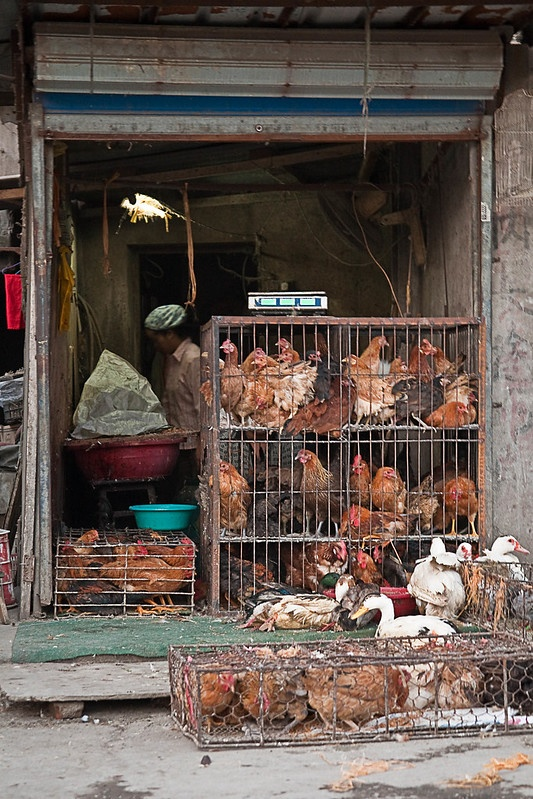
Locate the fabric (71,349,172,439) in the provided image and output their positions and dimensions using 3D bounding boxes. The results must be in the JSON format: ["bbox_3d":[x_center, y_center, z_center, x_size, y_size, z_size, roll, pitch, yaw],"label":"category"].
[{"bbox_3d":[-1.062,0.037,8.794,0.708,0.342,0.859,21,-24,-13],"label":"fabric"}]

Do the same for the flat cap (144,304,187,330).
[{"bbox_3d":[-0.801,-0.655,8.909,0.275,0.191,0.097,-5,-51,24],"label":"flat cap"}]
